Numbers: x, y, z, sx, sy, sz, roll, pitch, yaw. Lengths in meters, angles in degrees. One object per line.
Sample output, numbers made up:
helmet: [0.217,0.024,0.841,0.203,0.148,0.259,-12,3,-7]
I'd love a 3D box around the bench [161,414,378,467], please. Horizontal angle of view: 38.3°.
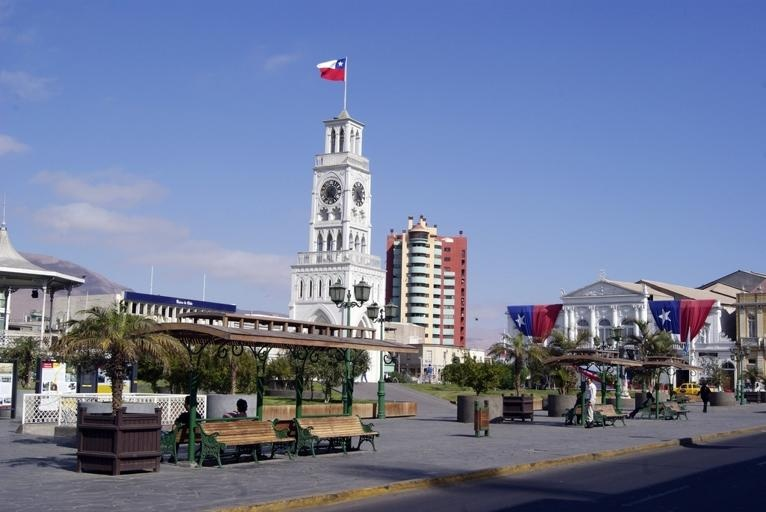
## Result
bench: [-3.655,6.014,35.945,6.814,1.630,1.860,7,-11,-33]

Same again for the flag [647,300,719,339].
flag: [32.813,6.956,120.434,1.937,4.916,9.227,6,-10,-21]

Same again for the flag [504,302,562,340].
flag: [18.094,8.173,130.674,5.240,4.361,4.860,2,-9,-4]
